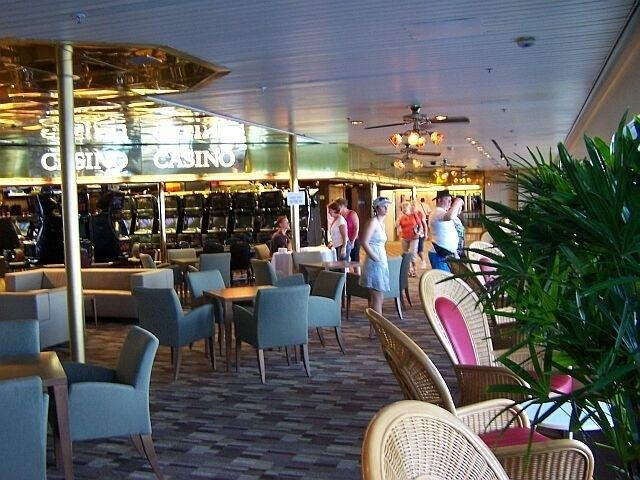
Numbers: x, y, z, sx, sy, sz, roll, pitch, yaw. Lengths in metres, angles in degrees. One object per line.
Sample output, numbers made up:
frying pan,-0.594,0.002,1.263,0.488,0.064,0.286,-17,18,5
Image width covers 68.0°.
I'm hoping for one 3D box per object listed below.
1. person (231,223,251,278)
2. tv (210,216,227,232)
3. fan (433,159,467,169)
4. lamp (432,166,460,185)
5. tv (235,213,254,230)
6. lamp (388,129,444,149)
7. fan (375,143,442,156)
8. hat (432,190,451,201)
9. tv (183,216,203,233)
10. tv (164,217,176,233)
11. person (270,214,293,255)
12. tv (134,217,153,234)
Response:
person,-1.827,0.113,11.445,0.607,0.881,0.625,-3,20,-7
tv,-3.076,-0.486,14.337,0.502,0.484,0.127,2,-11,16
fan,5.669,-3.328,20.572,1.181,0.299,1.211,1,2,-4
lamp,6.901,-3.575,26.053,1.256,0.557,1.292,0,5,17
tv,-2.263,-0.516,14.014,0.505,0.498,0.118,3,-4,19
lamp,2.256,-2.392,11.112,1.171,0.532,1.237,1,1,5
fan,2.619,-2.675,13.937,1.337,0.243,1.374,0,0,6
hat,1.853,-0.677,7.104,0.195,0.227,0.170,5,8,5
tv,-3.949,-0.393,14.734,0.607,0.611,0.541,0,-5,0
tv,-4.693,-0.452,14.708,0.410,0.617,0.418,0,2,-11
person,-0.798,-0.064,9.947,0.458,0.858,0.490,4,9,29
tv,-5.590,-0.427,14.983,0.472,0.600,0.593,0,2,-17
